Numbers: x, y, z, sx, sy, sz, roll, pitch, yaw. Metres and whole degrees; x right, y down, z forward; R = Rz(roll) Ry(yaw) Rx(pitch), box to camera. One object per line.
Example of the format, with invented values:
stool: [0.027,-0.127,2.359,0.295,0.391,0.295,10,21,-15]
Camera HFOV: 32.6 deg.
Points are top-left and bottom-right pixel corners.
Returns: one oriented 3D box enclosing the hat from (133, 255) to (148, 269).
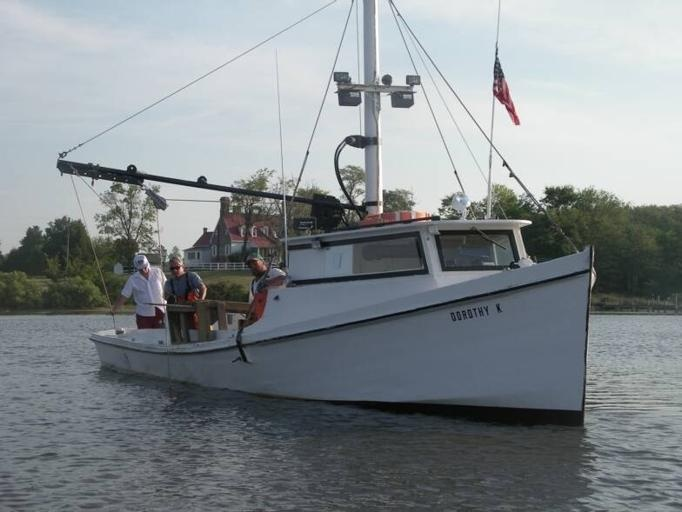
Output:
hat: [-4.548,0.105,26.418,0.278,0.177,0.352,-15,37,-16]
